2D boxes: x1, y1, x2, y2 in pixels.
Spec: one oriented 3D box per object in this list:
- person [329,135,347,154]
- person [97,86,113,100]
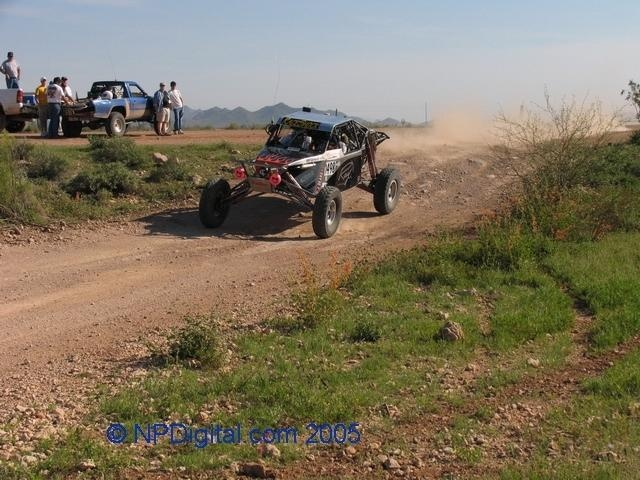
[{"bbox_3d":[0.447,-2.316,14.931,0.219,0.284,0.725,0,11,11],"label":"person"},{"bbox_3d":[-7.668,-5.239,22.005,0.486,0.457,0.880,-4,11,-14],"label":"person"}]
